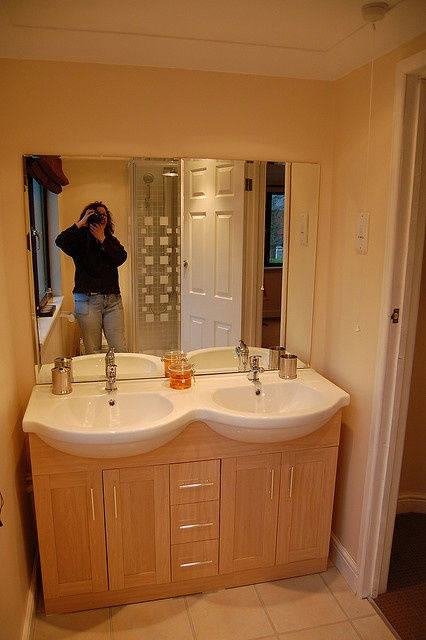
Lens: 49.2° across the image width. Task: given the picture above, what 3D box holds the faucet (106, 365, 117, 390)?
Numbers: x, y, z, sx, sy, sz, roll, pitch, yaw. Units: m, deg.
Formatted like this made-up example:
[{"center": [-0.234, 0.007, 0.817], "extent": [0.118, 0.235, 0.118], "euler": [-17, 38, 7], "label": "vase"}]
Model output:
[{"center": [-0.417, 0.234, 1.896], "extent": [0.045, 0.093, 0.096], "euler": [-1, 9, -14], "label": "faucet"}]

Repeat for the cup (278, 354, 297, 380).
[{"center": [0.334, 0.213, 2.119], "extent": [0.080, 0.107, 0.090], "euler": [4, 7, 26], "label": "cup"}]

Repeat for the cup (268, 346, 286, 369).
[{"center": [0.289, 0.175, 2.163], "extent": [0.087, 0.163, 0.085], "euler": [3, 0, 0], "label": "cup"}]

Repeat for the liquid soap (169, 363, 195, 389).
[{"center": [-0.135, 0.229, 1.963], "extent": [0.096, 0.094, 0.141], "euler": [1, 9, -1], "label": "liquid soap"}]

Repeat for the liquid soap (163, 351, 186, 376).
[{"center": [-0.183, 0.185, 2.101], "extent": [0.092, 0.113, 0.100], "euler": [-2, 4, -42], "label": "liquid soap"}]

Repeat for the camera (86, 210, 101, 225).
[{"center": [-0.477, -0.410, 1.884], "extent": [0.038, 0.064, 0.020], "euler": [1, 34, -16], "label": "camera"}]

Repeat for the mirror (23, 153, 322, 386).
[{"center": [-0.215, -0.233, 1.967], "extent": [0.819, 1.014, 0.104], "euler": [-1, 10, -11], "label": "mirror"}]
